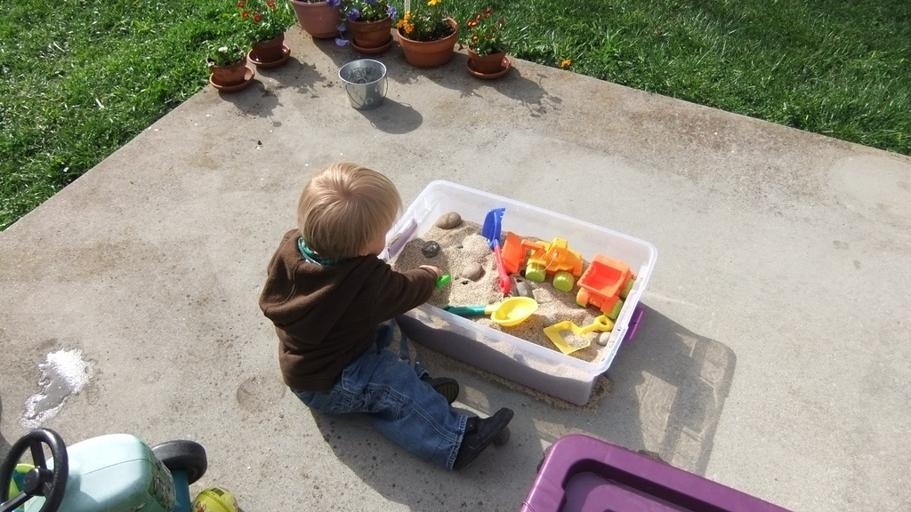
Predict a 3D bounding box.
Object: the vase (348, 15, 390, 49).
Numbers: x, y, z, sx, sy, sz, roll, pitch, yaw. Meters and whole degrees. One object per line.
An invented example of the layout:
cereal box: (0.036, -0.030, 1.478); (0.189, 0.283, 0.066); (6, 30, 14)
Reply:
vase: (-0.812, -2.089, 6.705); (0.306, 0.185, 0.297); (12, 60, 7)

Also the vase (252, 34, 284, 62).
vase: (-1.702, -1.893, 6.688); (0.270, 0.187, 0.263); (13, 51, 11)

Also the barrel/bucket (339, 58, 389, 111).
barrel/bucket: (-0.800, -1.544, 6.388); (0.443, 0.271, 0.460); (2, 62, -4)

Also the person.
person: (-0.605, 0.456, 4.749); (1.173, 1.024, 1.846); (-26, 68, -18)

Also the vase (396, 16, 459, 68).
vase: (-0.253, -1.948, 6.655); (0.533, 0.338, 0.387); (-2, 62, -7)

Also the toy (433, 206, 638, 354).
toy: (0.571, 0.216, 5.211); (1.298, 0.352, 1.585); (-2, 37, -3)
